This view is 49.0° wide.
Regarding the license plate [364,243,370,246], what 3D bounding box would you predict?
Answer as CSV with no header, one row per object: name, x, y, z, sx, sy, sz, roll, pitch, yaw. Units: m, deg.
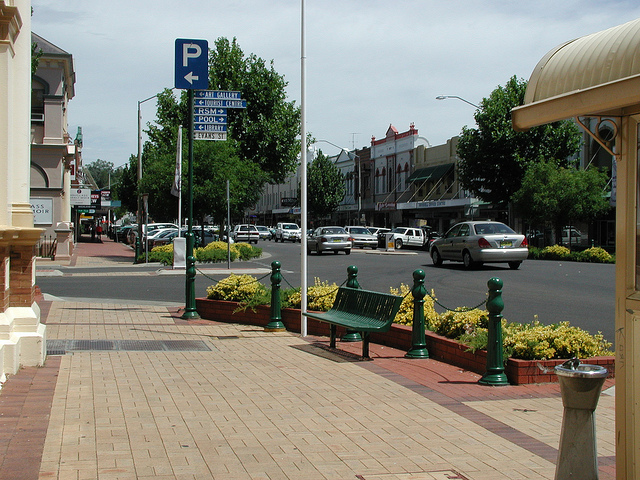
license plate,3.203,0.350,47.716,0.245,0.184,0.137,-1,4,8

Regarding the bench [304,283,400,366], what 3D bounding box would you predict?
bench,0.431,1.258,10.575,0.693,0.981,1.981,0,0,-22

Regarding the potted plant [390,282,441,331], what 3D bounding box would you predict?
potted plant,1.486,1.021,11.114,0.682,0.531,0.707,5,9,-18

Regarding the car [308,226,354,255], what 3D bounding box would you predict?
car,0.349,0.120,38.398,1.163,0.982,2.844,-1,3,-13

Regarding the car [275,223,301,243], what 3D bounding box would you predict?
car,-2.830,-0.642,63.431,1.337,1.220,2.844,0,-4,-18

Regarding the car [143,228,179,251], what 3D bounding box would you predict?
car,-9.989,0.157,44.249,3.238,1.227,1.499,2,4,31

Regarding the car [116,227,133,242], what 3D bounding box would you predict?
car,-18.691,-0.375,66.732,1.688,0.818,2.597,2,-6,-26

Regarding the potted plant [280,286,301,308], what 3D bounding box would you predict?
potted plant,-0.541,1.069,13.051,0.354,0.270,0.367,0,7,-9

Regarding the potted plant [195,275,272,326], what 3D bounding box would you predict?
potted plant,-1.576,1.179,13.842,2.148,0.894,0.593,2,3,44

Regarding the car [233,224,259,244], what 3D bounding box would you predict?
car,-6.234,-0.392,59.029,1.653,1.319,3.930,-1,2,-11

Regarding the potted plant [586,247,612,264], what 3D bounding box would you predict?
potted plant,11.859,0.729,29.743,0.717,0.672,0.773,6,10,-6

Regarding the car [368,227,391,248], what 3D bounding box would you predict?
car,4.560,-0.101,52.300,1.173,0.993,1.971,-1,3,-32

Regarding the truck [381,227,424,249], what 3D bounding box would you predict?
truck,5.962,-0.115,48.440,2.108,1.112,1.398,2,-3,-25

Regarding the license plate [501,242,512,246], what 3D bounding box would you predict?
license plate,6.461,0.172,24.341,0.391,0.113,0.027,-1,2,-8

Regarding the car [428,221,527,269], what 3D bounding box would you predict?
car,5.617,0.212,25.609,1.309,1.692,3.701,-2,2,-28

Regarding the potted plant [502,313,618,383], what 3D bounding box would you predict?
potted plant,3.058,1.362,8.820,1.505,0.562,1.172,0,1,-8

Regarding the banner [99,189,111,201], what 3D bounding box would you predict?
banner,-23.200,-4.819,76.288,0.802,1.301,7.161,-1,2,-18

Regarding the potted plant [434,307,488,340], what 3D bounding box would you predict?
potted plant,2.035,1.184,10.004,0.506,0.335,0.515,1,-2,19

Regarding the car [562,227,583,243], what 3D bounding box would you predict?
car,18.054,-0.257,50.403,1.880,1.174,1.177,-2,2,-6
